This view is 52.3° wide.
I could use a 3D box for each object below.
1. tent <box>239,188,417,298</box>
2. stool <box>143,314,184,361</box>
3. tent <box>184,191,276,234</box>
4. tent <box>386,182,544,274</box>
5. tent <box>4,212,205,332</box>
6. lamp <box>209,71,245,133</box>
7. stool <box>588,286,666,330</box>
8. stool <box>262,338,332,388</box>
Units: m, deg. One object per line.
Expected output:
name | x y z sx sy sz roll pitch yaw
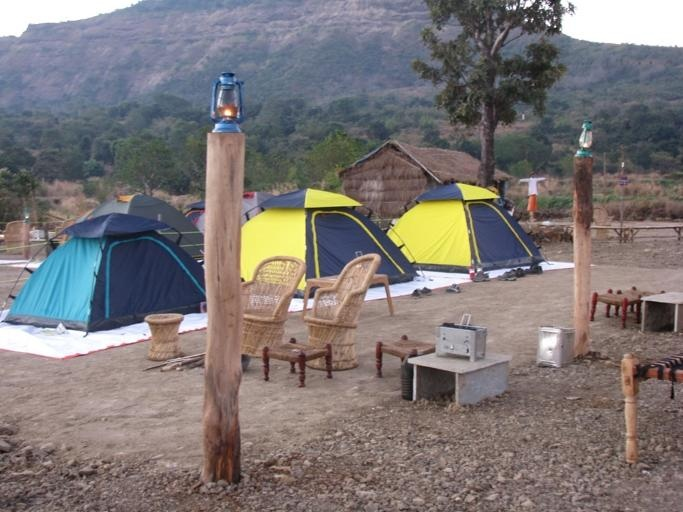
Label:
tent | -0.390 -0.408 12.668 2.285 1.101 2.234 -8 11 -39
stool | -2.101 0.953 8.308 0.520 0.526 0.526 1 1 25
tent | -3.323 -1.386 19.507 2.257 0.758 2.231 0 1 29
tent | 2.767 -0.552 15.688 2.427 1.192 2.558 -4 8 -29
tent | -3.247 0.062 10.251 1.737 1.077 2.197 5 8 33
lamp | -0.913 -1.219 5.525 0.257 0.475 0.288 -4 11 -9
stool | 4.072 0.694 9.917 0.620 0.364 1.133 0 2 44
stool | -0.459 1.140 7.572 0.643 0.380 0.712 8 14 39
